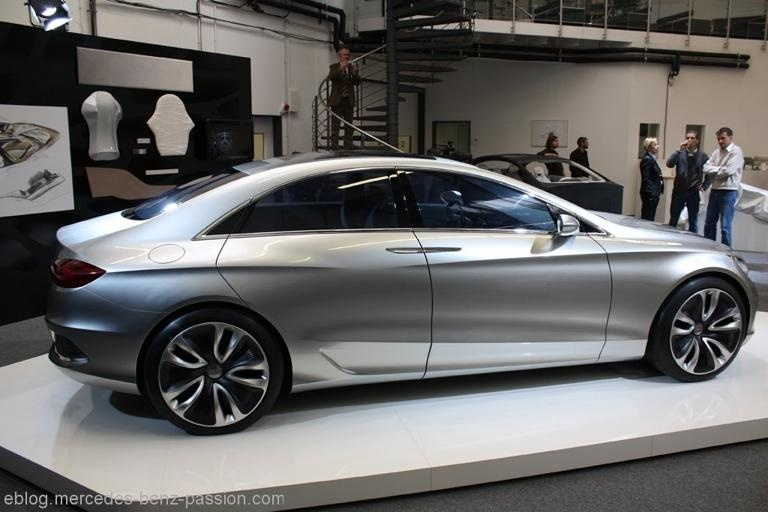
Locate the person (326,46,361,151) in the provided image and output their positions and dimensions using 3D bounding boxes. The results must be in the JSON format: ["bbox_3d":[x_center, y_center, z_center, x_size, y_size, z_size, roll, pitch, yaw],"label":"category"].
[{"bbox_3d":[-0.715,-2.784,9.119,0.561,1.706,1.140,-2,13,-10],"label":"person"}]

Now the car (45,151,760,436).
[{"bbox_3d":[0.246,0.114,3.796,4.299,1.487,1.844,-5,5,-11],"label":"car"}]

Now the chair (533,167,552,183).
[{"bbox_3d":[2.590,-1.322,8.439,0.312,0.286,0.234,-4,15,-17],"label":"chair"}]
